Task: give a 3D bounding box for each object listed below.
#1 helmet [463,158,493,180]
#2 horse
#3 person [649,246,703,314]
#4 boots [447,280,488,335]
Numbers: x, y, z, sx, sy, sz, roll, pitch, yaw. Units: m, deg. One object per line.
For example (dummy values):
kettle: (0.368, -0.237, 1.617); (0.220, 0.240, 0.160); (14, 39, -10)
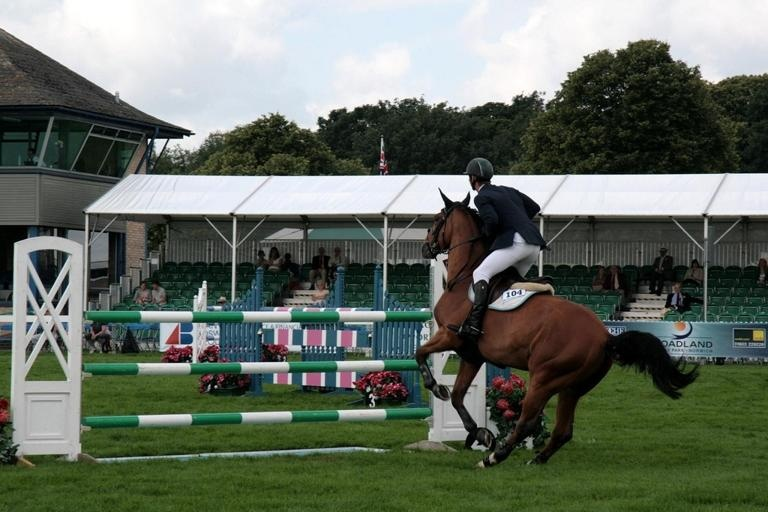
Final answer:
helmet: (1.897, -1.772, 31.405); (0.510, 0.282, 0.390); (16, 16, 32)
horse: (2.988, 1.672, 30.885); (4.778, 4.727, 1.753); (2, 15, 9)
person: (7.913, 0.687, 42.836); (1.130, 1.845, 0.743); (-5, -2, 8)
boots: (1.694, 1.054, 30.936); (0.606, 1.018, 0.651); (1, -2, 1)
